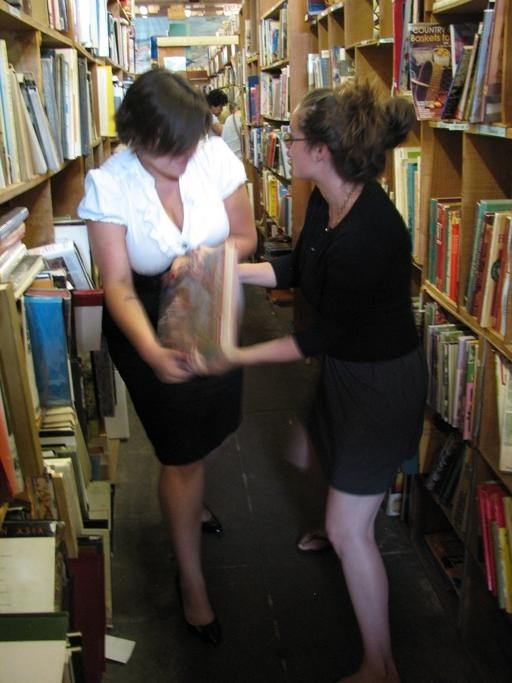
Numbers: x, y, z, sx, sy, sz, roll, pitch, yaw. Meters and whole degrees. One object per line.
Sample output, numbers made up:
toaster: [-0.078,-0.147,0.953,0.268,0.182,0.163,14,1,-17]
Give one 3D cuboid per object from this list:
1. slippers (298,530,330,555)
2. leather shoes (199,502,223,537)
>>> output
slippers: [0.221,0.785,1.938,0.133,0.092,0.056,-10,-13,5]
leather shoes: [-0.184,0.754,2.107,0.062,0.097,0.208,-2,4,-19]
